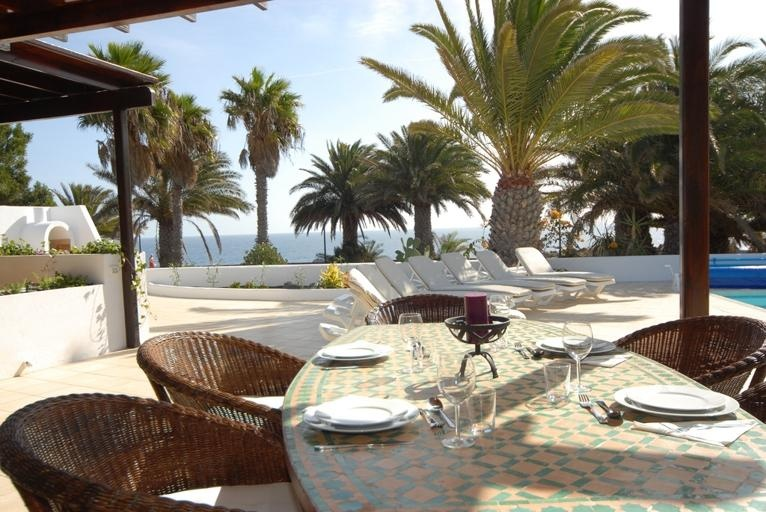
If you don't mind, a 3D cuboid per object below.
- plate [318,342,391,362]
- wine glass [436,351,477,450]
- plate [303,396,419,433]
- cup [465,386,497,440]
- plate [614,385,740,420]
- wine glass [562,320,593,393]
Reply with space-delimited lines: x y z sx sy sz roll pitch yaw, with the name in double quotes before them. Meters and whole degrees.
"plate" -0.167 0.531 2.823 0.408 0.057 0.290 -1 3 -6
"wine glass" 0.280 0.538 1.938 0.137 0.293 0.292 -1 3 8
"plate" -0.095 0.643 2.045 0.452 0.069 0.291 -2 3 -11
"cup" 0.345 0.606 1.946 0.125 0.137 0.125 6 -28 3
"plate" 1.180 0.591 2.051 0.455 0.068 0.261 0 3 13
"wine glass" 0.904 0.447 2.355 0.115 0.282 0.494 0 3 21
